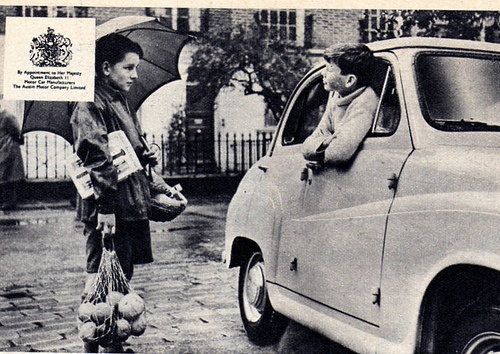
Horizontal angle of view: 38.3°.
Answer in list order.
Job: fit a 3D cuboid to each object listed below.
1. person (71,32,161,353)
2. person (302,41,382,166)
[{"bbox_3d":[-1.358,0.160,7.440,0.740,3.249,0.925,1,9,12],"label":"person"},{"bbox_3d":[0.897,-0.685,7.215,0.828,1.702,1.110,1,3,11],"label":"person"}]
